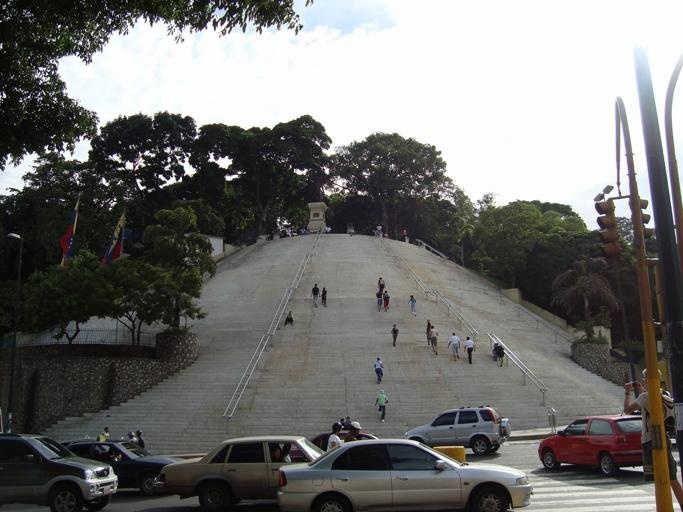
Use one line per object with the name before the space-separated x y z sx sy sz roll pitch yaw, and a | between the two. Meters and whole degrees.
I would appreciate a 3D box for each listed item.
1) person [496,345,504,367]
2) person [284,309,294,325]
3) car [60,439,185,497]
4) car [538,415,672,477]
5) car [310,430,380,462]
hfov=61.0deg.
person | 9.278 5.711 33.858 0.375 1.125 1.184 3 13 17
person | -3.699 4.280 40.744 0.579 0.963 0.476 5 22 4
car | -6.944 6.608 18.079 3.593 1.481 1.660 -1 -6 6
car | 7.679 5.767 17.771 1.644 1.398 2.740 4 -7 -26
car | 0.123 6.204 18.547 2.202 0.819 1.053 3 -13 -1
